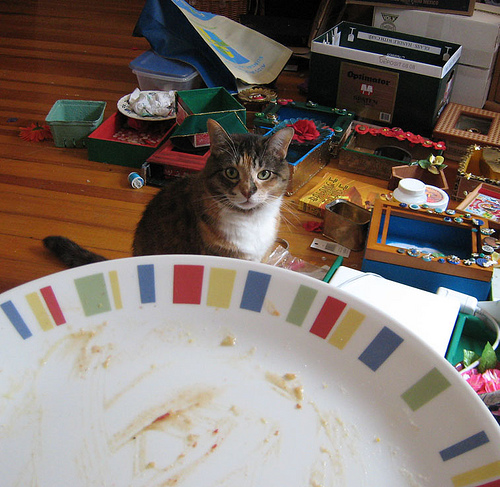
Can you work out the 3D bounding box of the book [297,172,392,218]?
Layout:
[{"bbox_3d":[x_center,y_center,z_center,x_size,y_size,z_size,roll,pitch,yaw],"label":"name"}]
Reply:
[{"bbox_3d":[0.294,-0.146,1.457,0.209,0.071,0.209,28,51,19],"label":"book"}]

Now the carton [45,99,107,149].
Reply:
[{"bbox_3d":[-0.628,-0.444,1.695,0.189,0.111,0.312,-1,48,-7],"label":"carton"}]

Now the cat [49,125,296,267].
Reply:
[{"bbox_3d":[-0.204,-0.094,1.273,0.662,0.410,0.281,9,12,43],"label":"cat"}]

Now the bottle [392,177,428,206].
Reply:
[{"bbox_3d":[0.435,-0.141,1.264,0.071,0.073,0.067,-30,56,-21],"label":"bottle"}]

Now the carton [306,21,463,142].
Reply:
[{"bbox_3d":[0.458,-0.593,1.679,0.538,0.277,0.448,21,50,12],"label":"carton"}]
